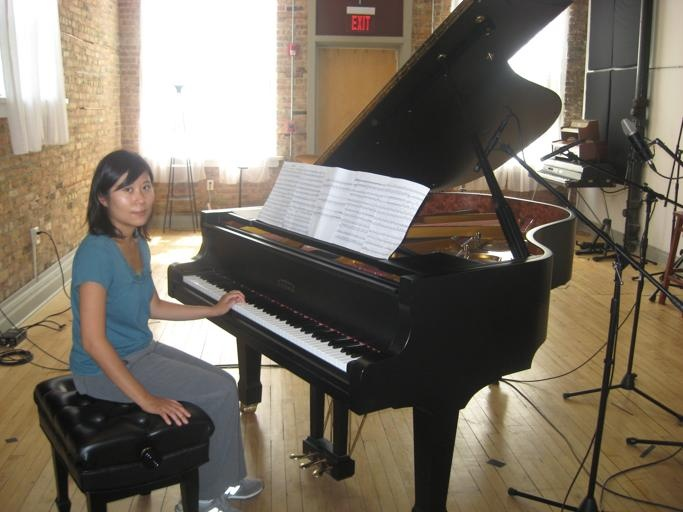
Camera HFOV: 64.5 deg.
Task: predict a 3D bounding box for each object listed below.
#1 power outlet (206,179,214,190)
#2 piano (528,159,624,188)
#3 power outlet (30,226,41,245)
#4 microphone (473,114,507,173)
[{"bbox_3d":[-1.953,-1.075,8.104,0.089,0.154,0.047,0,8,0],"label":"power outlet"},{"bbox_3d":[2.656,-0.935,6.022,0.535,0.250,0.994,0,12,-18],"label":"piano"},{"bbox_3d":[-2.792,-0.186,4.973,0.042,0.190,0.235,-4,15,-16],"label":"power outlet"},{"bbox_3d":[0.818,-0.645,2.994,0.112,0.329,0.225,31,22,15],"label":"microphone"}]
